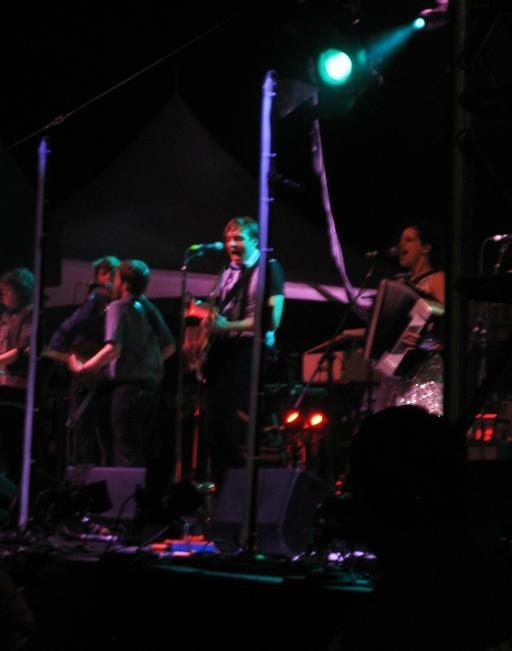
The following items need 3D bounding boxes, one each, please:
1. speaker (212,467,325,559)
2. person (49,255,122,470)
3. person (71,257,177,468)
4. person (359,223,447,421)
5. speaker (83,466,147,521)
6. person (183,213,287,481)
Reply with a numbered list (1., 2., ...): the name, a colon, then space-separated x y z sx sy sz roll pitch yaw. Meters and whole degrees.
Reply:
1. speaker: 0.092 0.912 4.235 0.441 0.409 0.521 9 -14 -41
2. person: -1.326 0.255 6.677 0.650 1.514 0.223 -16 -42 23
3. person: -0.939 0.239 5.957 0.665 1.465 1.155 7 -7 -7
4. person: 1.043 -0.068 5.634 0.515 1.299 0.401 4 -7 21
5. speaker: -0.771 0.934 4.845 0.335 0.261 0.168 8 2 -18
6. person: -0.151 0.101 5.063 0.560 1.679 1.555 7 -7 -5
